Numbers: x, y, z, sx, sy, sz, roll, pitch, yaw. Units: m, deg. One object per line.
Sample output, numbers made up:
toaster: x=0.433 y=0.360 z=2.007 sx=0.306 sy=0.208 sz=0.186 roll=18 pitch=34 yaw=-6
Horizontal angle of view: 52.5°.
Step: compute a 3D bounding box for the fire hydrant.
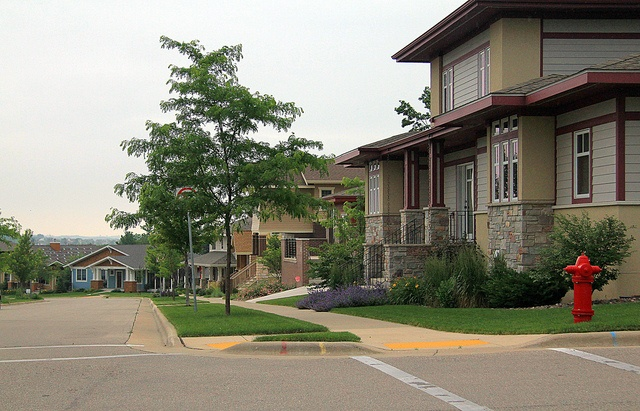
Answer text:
fire hydrant: x=7.268 y=2.281 z=17.976 sx=0.830 sy=1.888 sz=0.663 roll=5 pitch=-9 yaw=-30
